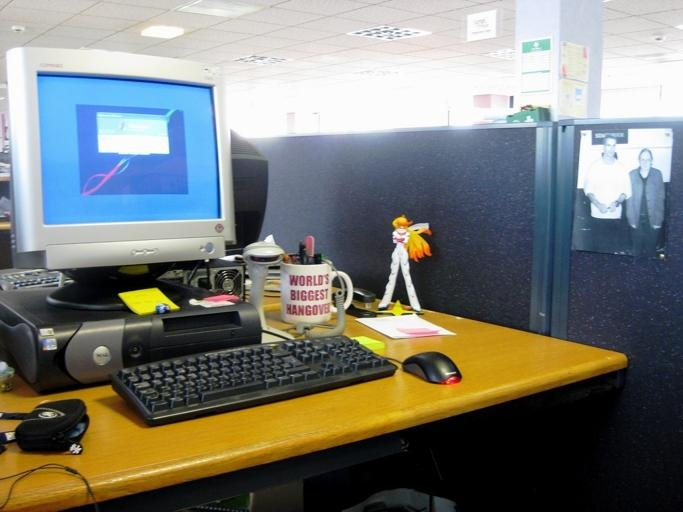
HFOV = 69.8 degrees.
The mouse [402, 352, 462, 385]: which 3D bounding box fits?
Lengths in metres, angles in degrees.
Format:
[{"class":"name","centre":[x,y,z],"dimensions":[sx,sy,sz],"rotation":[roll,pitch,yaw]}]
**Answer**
[{"class":"mouse","centre":[0.177,0.207,0.947],"dimensions":[0.078,0.039,0.126],"rotation":[-6,8,-24]}]

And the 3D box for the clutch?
[{"class":"clutch","centre":[-0.412,0.242,0.689],"dimensions":[0.087,0.046,0.091],"rotation":[-6,13,-17]}]

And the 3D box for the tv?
[{"class":"tv","centre":[-0.479,-0.160,1.024],"dimensions":[0.567,0.450,0.229],"rotation":[-7,18,-36]}]

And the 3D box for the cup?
[{"class":"cup","centre":[-0.074,0.070,1.223],"dimensions":[0.155,0.167,0.122],"rotation":[0,5,-6]}]

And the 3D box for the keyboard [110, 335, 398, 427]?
[{"class":"keyboard","centre":[-0.224,0.161,0.967],"dimensions":[0.531,0.075,0.364],"rotation":[-5,10,-35]}]
